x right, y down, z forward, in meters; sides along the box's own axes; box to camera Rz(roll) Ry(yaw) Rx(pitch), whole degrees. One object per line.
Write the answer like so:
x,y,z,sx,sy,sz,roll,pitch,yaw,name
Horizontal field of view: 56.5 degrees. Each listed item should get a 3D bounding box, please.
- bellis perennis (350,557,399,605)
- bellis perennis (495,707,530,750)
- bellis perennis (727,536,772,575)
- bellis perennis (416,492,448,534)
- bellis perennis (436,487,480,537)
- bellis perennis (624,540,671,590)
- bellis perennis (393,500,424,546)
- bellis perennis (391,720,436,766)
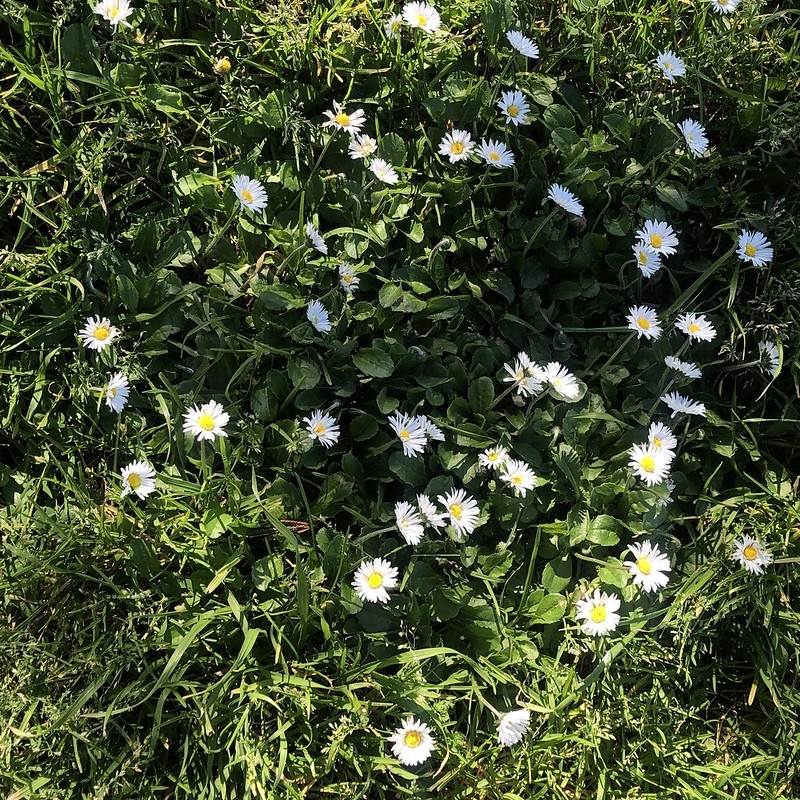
-0.065,0.468,1.950,0.101,0.106,0.102,22,82,4,bellis perennis
0.275,0.804,1.833,0.067,0.130,0.103,11,81,3,bellis perennis
1.029,0.452,2.180,0.107,0.040,0.115,-4,67,4,bellis perennis
0.080,0.301,1.972,0.048,0.098,0.101,-25,46,-1,bellis perennis
0.156,0.302,2.054,0.120,0.051,0.125,-15,80,-25,bellis perennis
0.664,0.444,2.027,0.027,0.112,0.122,59,38,-5,bellis perennis
0.015,0.321,1.945,0.096,0.038,0.100,18,52,-34,bellis perennis
0.031,0.848,1.866,0.096,0.176,0.091,-24,81,-3,bellis perennis
